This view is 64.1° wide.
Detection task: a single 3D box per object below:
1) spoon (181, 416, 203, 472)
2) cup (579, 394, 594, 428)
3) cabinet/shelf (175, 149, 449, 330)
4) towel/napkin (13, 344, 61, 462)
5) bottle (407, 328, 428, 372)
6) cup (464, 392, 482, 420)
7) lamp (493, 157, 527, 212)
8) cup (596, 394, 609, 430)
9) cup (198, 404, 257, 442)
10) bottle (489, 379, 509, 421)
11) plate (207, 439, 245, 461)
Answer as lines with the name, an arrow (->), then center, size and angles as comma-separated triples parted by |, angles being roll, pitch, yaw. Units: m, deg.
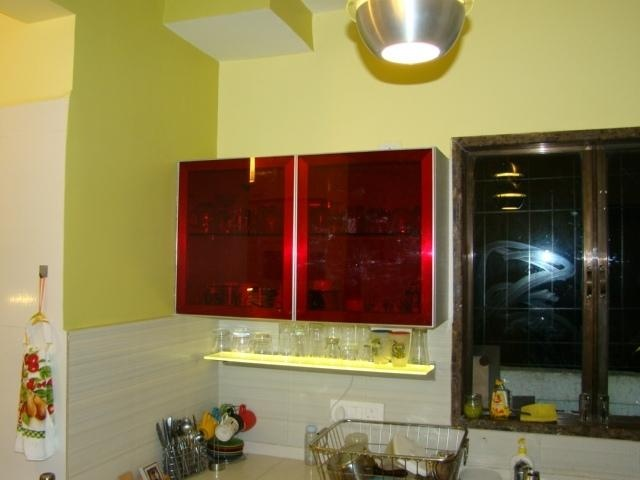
spoon -> -0.707, 1.130, 2.816 | 0.136, 0.266, 0.085 | -4, -6, -32
cup -> 1.415, 0.901, 2.725 | 0.068, 0.155, 0.063 | -1, -2, 0
cabinet/shelf -> -0.080, 0.014, 2.886 | 1.379, 0.945, 0.426 | 0, -4, 11
towel/napkin -> -1.262, 0.721, 2.270 | 0.162, 0.488, 0.098 | 0, -2, -22
bottle -> 0.557, 0.589, 2.814 | 0.145, 0.189, 0.065 | 0, -2, -29
cup -> 0.839, 0.927, 2.814 | 0.087, 0.121, 0.119 | -5, -13, 35
lamp -> 1.067, -0.302, 2.876 | 0.218, 0.318, 0.229 | 1, -5, -5
cup -> 1.485, 0.898, 2.697 | 0.061, 0.164, 0.088 | -2, -2, 26
cup -> -0.542, 1.073, 3.018 | 0.267, 0.206, 0.272 | 1, -9, 0
bottle -> 0.995, 0.886, 2.838 | 0.109, 0.200, 0.102 | -1, -2, 0
plate -> -0.544, 1.222, 2.961 | 0.209, 0.135, 0.113 | 1, -3, -35
